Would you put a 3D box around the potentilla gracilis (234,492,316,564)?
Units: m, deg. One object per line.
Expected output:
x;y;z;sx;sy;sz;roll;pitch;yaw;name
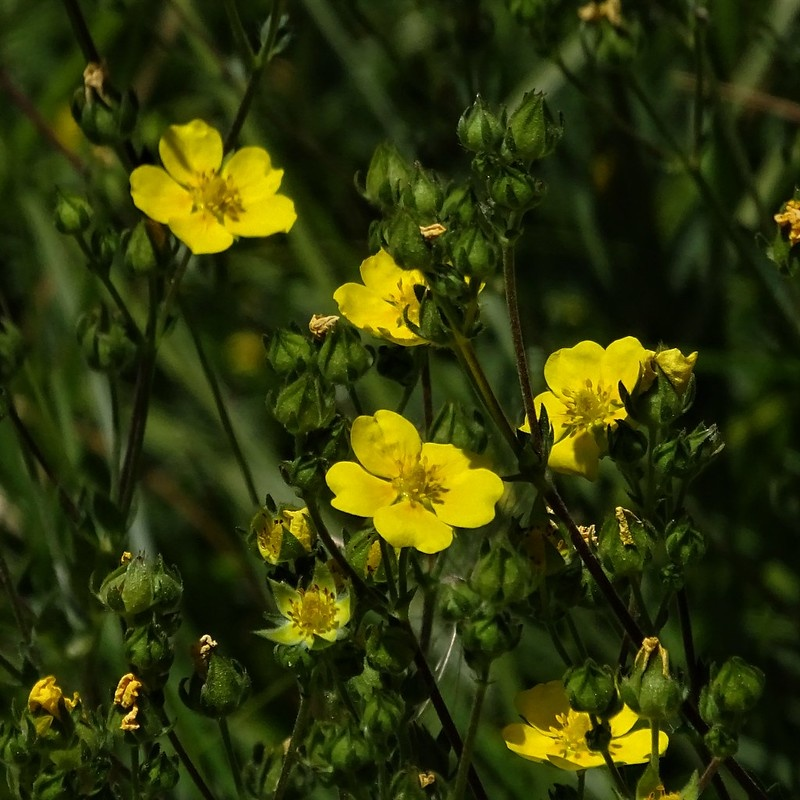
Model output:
-0.084;0.099;0.976;0.064;0.049;0.055;21;-4;-28;potentilla gracilis

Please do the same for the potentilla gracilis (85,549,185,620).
-0.211;0.143;1.016;0.057;0.060;0.065;-10;-10;37;potentilla gracilis

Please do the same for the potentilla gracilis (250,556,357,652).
-0.063;0.152;0.949;0.061;0.047;0.095;-4;9;-10;potentilla gracilis

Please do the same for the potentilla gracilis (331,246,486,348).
-0.001;-0.090;1.069;0.064;0.043;0.075;9;-5;-29;potentilla gracilis

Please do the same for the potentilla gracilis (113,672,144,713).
-0.210;0.226;0.990;0.017;0.031;0.010;2;-1;-5;potentilla gracilis

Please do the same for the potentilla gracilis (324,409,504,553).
0.013;0.059;0.938;0.094;0.040;0.141;2;37;-13;potentilla gracilis

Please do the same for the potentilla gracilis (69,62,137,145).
-0.262;-0.264;1.122;0.042;0.109;0.043;0;7;7;potentilla gracilis

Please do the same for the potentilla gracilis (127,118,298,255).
-0.162;-0.185;1.113;0.115;0.138;0.048;-15;-23;-34;potentilla gracilis

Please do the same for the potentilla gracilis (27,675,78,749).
-0.289;0.251;1.060;0.019;0.053;0.046;-4;-37;-49;potentilla gracilis

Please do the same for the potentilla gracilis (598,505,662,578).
0.174;0.107;0.994;0.038;0.055;0.055;9;-14;-2;potentilla gracilis

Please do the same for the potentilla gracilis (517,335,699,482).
0.168;-0.018;1.030;0.107;0.054;0.120;-10;-9;33;potentilla gracilis
